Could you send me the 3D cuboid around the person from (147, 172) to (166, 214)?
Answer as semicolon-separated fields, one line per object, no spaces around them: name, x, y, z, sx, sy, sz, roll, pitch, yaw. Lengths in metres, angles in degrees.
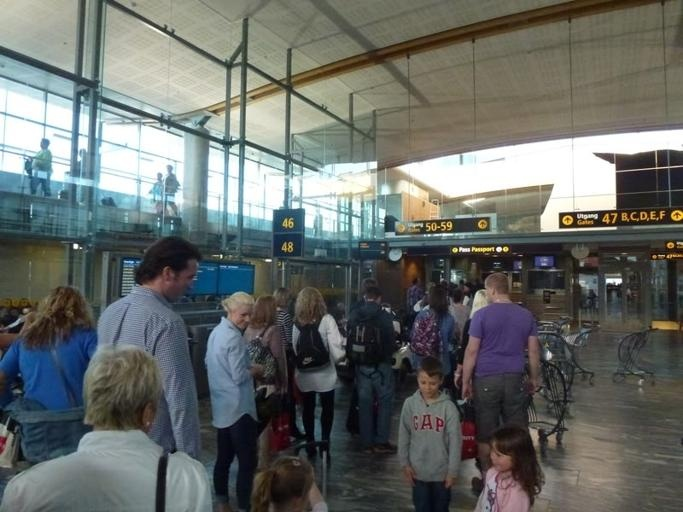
person;-3.531;-1.220;11.362;0.151;0.778;0.362;2;-1;14

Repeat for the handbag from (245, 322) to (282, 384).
handbag;-0.891;1.144;6.846;0.680;0.809;0.443;1;-14;-10

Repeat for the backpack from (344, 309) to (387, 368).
backpack;0.347;1.104;7.795;0.690;0.859;0.480;-4;-21;19

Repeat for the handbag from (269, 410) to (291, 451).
handbag;-0.753;2.131;7.180;0.205;0.416;0.485;3;-1;3

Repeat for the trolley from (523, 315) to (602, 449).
trolley;3.733;1.985;10.135;1.253;1.397;3.703;-1;1;17

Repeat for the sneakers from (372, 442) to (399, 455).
sneakers;0.581;2.528;7.726;0.332;0.140;0.124;0;-7;-11

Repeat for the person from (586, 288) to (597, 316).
person;10.231;1.868;23.980;0.258;1.102;0.553;3;-1;-18

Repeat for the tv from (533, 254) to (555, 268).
tv;8.958;0.252;25.940;1.015;0.653;0.534;-3;-13;22

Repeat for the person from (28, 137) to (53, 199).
person;-4.803;-1.443;9.441;0.174;0.991;0.371;2;-1;15

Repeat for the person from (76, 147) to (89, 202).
person;-4.417;-1.371;10.054;0.165;0.949;0.299;3;-1;-27

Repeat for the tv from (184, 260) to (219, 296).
tv;-2.221;0.362;9.394;0.098;0.576;0.729;-6;3;35
